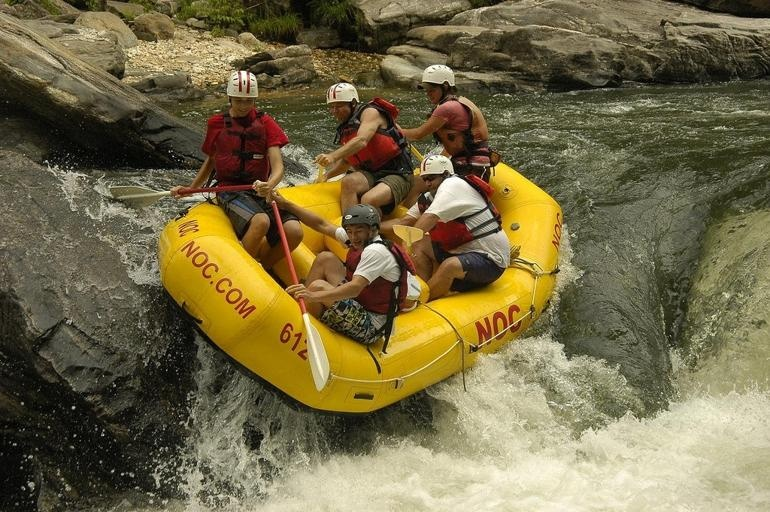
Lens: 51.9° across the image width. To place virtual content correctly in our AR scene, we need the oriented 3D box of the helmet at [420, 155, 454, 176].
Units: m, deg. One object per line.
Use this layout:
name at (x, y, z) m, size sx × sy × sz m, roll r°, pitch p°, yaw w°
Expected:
helmet at (0.609, -1.057, 9.305) m, size 0.238 × 0.319 × 0.198 m, roll -9°, pitch 68°, yaw 40°

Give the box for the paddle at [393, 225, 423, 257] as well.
paddle at (0.270, -0.169, 8.849) m, size 0.463 × 0.519 × 0.105 m, roll 12°, pitch 68°, yaw 12°

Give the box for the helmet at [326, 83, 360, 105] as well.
helmet at (-0.491, -1.984, 9.699) m, size 0.265 × 0.206 × 0.355 m, roll 10°, pitch 16°, yaw 39°

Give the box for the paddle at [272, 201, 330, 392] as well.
paddle at (-1.101, -0.059, 8.979) m, size 0.513 × 0.210 × 4.334 m, roll -28°, pitch 19°, yaw -3°

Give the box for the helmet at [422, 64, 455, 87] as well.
helmet at (0.695, -2.306, 10.262) m, size 0.395 × 0.233 × 0.297 m, roll -10°, pitch 29°, yaw -14°

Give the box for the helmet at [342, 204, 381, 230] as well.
helmet at (-0.245, -0.413, 8.303) m, size 0.325 × 0.205 × 0.226 m, roll -9°, pitch 15°, yaw -37°

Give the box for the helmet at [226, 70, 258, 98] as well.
helmet at (-1.591, -1.927, 8.769) m, size 0.269 × 0.309 × 0.338 m, roll -2°, pitch 31°, yaw -19°

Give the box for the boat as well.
boat at (-0.041, -0.071, 9.942) m, size 5.200 × 1.580 × 3.531 m, roll -22°, pitch 47°, yaw -33°
